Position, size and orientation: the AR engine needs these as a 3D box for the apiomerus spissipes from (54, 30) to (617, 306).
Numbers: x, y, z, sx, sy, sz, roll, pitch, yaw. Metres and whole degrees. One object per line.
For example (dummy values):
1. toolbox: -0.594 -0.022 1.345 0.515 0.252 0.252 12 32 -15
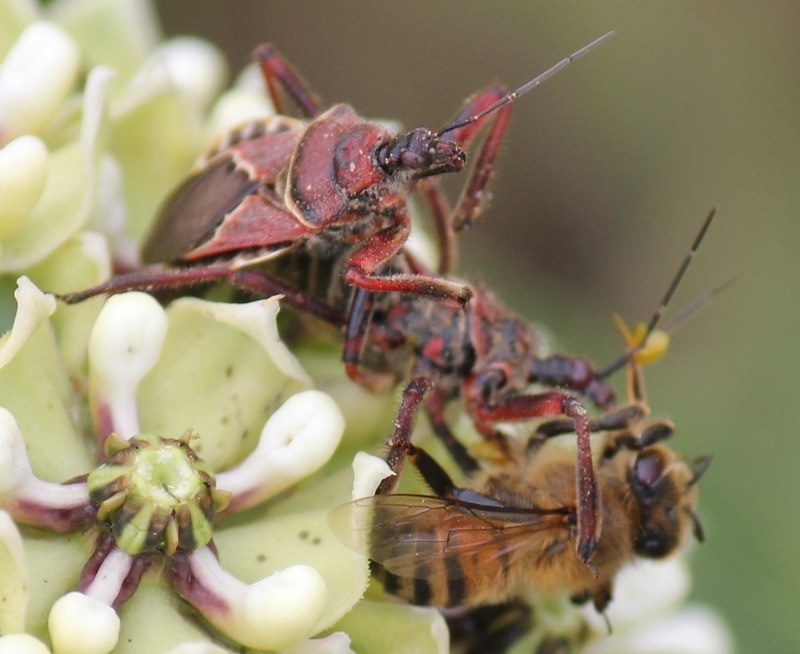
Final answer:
1. apiomerus spissipes: -0.168 -0.169 1.983 0.603 0.876 0.413 25 48 -74

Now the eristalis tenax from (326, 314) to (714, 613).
1. eristalis tenax: 0.201 0.239 1.813 0.458 0.155 0.360 -8 38 -11
